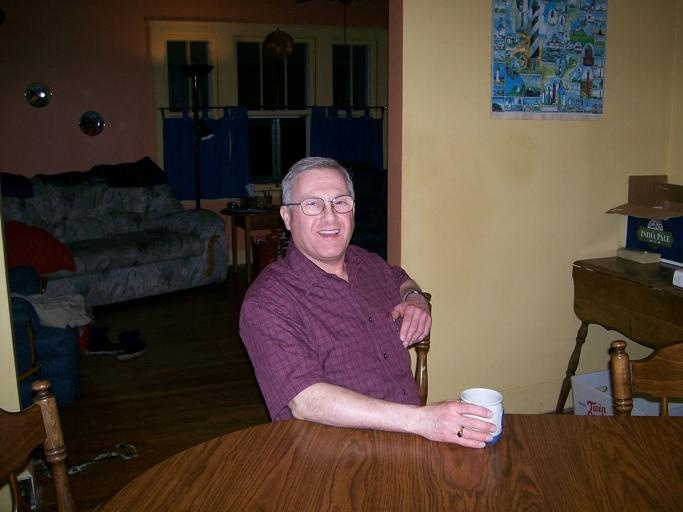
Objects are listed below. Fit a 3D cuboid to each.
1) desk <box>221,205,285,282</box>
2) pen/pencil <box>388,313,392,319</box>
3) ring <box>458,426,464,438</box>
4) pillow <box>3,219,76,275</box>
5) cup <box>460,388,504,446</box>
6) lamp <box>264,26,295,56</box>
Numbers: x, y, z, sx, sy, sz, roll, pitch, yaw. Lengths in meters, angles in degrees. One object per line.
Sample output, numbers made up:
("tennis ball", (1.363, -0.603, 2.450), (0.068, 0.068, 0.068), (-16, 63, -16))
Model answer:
("desk", (-1.042, -0.187, 6.172), (0.531, 0.533, 0.484), (1, 8, -35))
("pen/pencil", (0.166, 0.206, 1.898), (0.005, 0.017, 0.012), (-9, 4, 9))
("ring", (0.292, 0.433, 1.354), (0.015, 0.023, 0.009), (3, -22, 17))
("pillow", (-2.099, -0.040, 3.863), (0.394, 0.407, 0.359), (-8, 15, -29))
("cup", (0.348, 0.405, 1.370), (0.087, 0.094, 0.093), (-2, 17, 0))
("lamp", (-0.679, -2.368, 6.092), (0.286, 0.383, 0.305), (-1, 6, 3))
